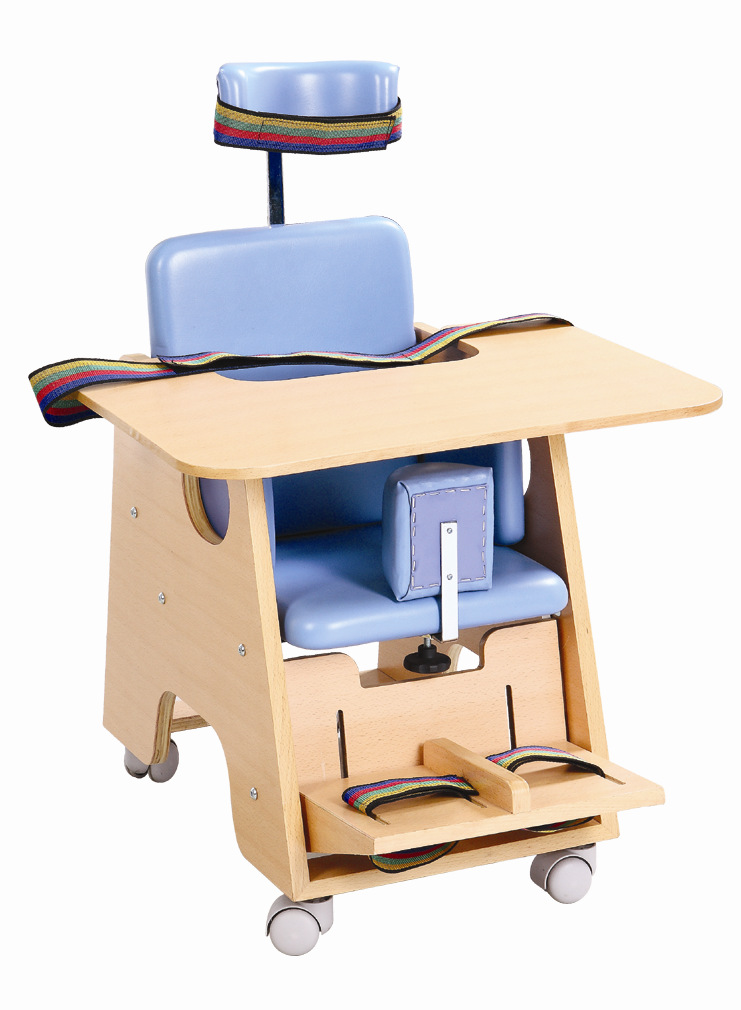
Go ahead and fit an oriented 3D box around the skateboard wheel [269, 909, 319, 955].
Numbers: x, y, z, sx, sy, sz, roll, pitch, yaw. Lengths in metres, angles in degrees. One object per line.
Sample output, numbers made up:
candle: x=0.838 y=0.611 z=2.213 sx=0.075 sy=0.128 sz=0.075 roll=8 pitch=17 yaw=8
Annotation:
skateboard wheel: x=-0.108 y=0.603 z=1.427 sx=0.077 sy=0.075 sz=0.039 roll=-2 pitch=8 yaw=-5
